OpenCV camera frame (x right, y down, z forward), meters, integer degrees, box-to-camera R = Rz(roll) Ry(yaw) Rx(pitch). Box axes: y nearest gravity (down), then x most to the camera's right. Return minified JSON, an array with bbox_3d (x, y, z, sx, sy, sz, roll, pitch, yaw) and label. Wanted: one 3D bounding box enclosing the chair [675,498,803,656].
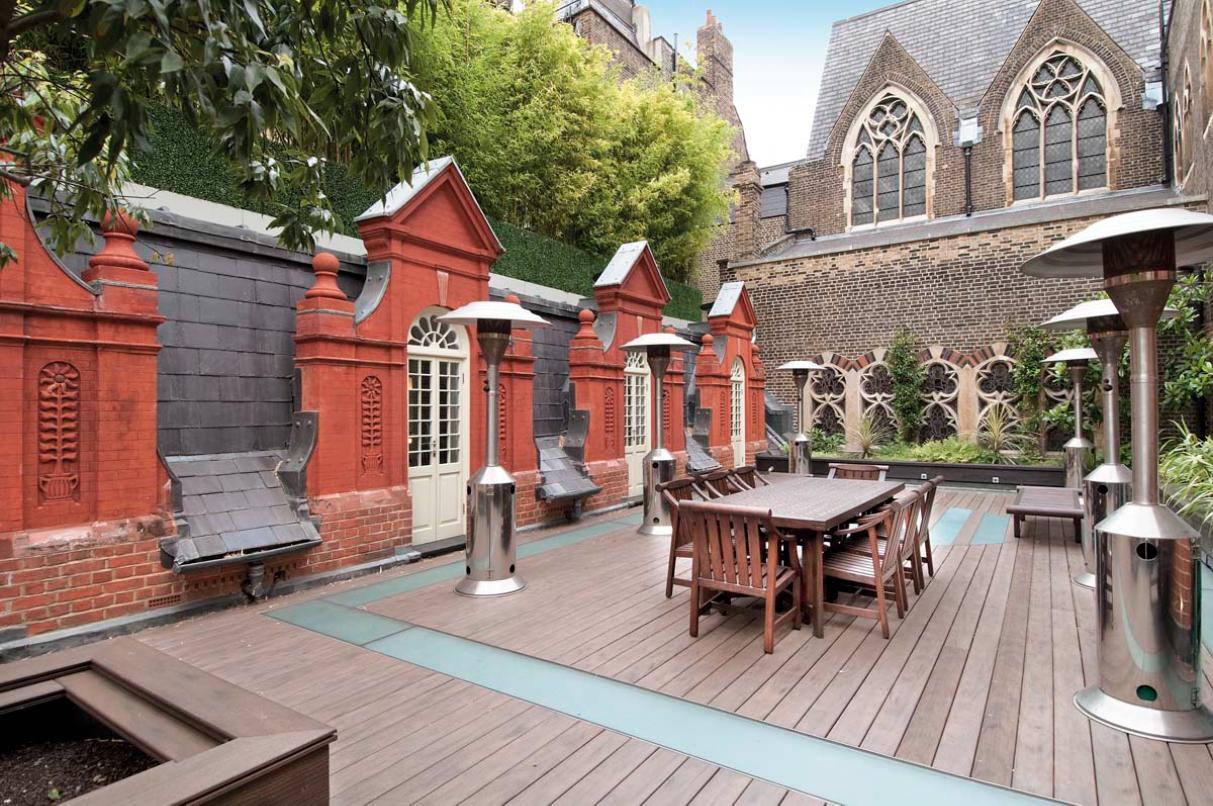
[{"bbox_3d":[1.427,1.532,8.624,1.222,1.924,1.314,2,9,27],"label":"chair"}]
